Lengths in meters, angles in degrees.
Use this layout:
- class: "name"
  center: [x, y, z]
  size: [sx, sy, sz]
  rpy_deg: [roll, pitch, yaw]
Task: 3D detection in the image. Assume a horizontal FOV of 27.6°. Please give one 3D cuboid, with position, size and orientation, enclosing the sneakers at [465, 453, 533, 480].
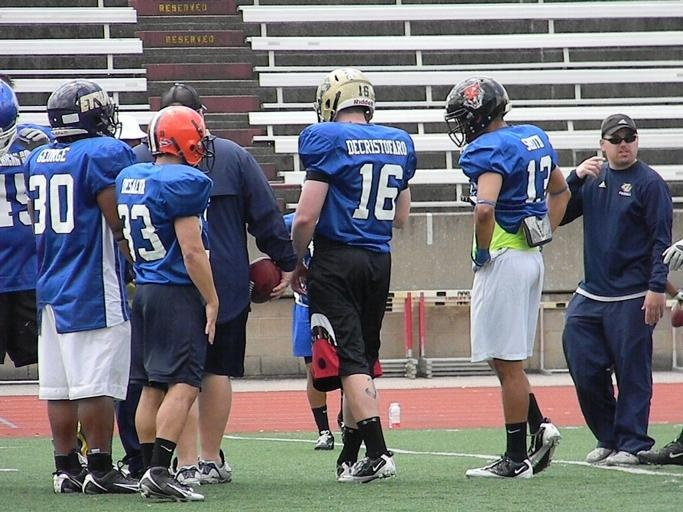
- class: "sneakers"
  center: [1.274, 1.719, 11.289]
  size: [0.472, 0.170, 0.208]
  rpy_deg: [3, -13, 1]

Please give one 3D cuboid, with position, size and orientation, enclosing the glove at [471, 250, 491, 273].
- class: "glove"
  center: [1.113, 0.037, 11.414]
  size: [0.137, 0.189, 0.244]
  rpy_deg: [-2, 3, -27]

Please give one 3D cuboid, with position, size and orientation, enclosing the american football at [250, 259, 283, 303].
- class: "american football"
  center: [-0.672, 0.170, 11.581]
  size: [0.285, 0.301, 0.259]
  rpy_deg: [19, 12, 4]

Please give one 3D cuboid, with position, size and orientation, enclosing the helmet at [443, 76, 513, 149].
- class: "helmet"
  center: [1.145, -1.197, 11.627]
  size: [0.601, 0.553, 0.457]
  rpy_deg: [-10, 2, 15]

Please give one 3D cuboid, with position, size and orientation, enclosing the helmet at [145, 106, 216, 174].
- class: "helmet"
  center: [-1.288, -0.978, 11.159]
  size: [0.455, 0.461, 0.596]
  rpy_deg: [3, 9, 31]

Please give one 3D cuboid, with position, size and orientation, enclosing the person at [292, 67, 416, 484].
- class: "person"
  center: [0.079, 0.364, 11.326]
  size: [0.964, 2.877, 0.581]
  rpy_deg: [-1, 2, -3]

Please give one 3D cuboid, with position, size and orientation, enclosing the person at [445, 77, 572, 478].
- class: "person"
  center: [1.360, 0.152, 11.457]
  size: [0.958, 3.252, 0.703]
  rpy_deg: [-1, 2, -8]

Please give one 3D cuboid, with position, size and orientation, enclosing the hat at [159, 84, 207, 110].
- class: "hat"
  center: [-1.312, -1.312, 11.669]
  size: [0.236, 0.198, 0.332]
  rpy_deg: [6, -1, 20]

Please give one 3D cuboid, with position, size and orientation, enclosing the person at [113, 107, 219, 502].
- class: "person"
  center: [-1.361, 0.345, 10.863]
  size: [0.772, 3.041, 0.590]
  rpy_deg: [-1, 2, -6]

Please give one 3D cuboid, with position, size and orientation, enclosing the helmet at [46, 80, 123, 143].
- class: "helmet"
  center: [-2.142, -1.172, 11.445]
  size: [0.671, 0.513, 0.464]
  rpy_deg: [-8, 2, -44]

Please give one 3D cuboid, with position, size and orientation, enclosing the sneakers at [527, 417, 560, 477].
- class: "sneakers"
  center: [1.607, 1.561, 11.475]
  size: [0.155, 0.197, 0.419]
  rpy_deg: [-28, -31, -24]

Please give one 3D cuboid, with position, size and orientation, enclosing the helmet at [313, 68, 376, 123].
- class: "helmet"
  center: [0.008, -1.306, 11.618]
  size: [0.424, 0.500, 0.557]
  rpy_deg: [-1, 4, -42]
